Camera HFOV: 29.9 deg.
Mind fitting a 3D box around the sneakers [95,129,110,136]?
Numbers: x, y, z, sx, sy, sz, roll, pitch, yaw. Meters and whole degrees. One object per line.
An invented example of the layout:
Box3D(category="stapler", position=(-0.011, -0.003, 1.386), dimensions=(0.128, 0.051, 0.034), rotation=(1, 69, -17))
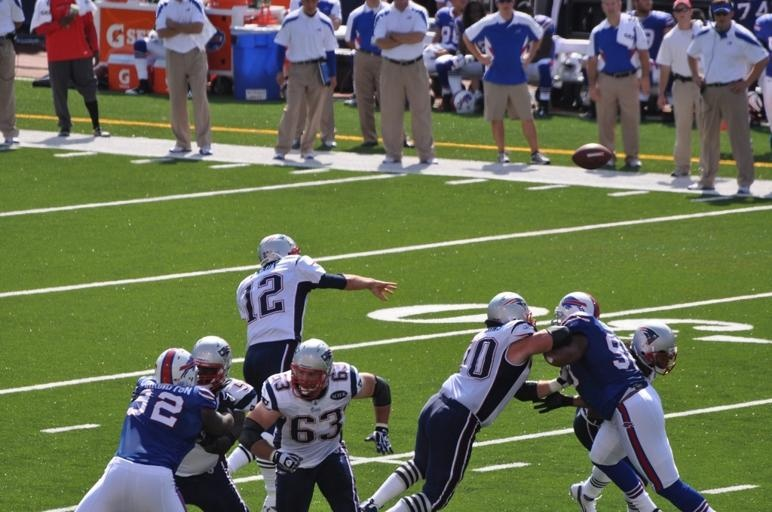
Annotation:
Box3D(category="sneakers", position=(-4.992, -2.110, 25.294), dimensions=(0.238, 0.119, 0.130), rotation=(1, 35, 1))

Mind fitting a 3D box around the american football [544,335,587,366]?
Box3D(category="american football", position=(1.865, 1.005, 15.085), dimensions=(0.438, 0.340, 0.181), rotation=(0, 7, 8))

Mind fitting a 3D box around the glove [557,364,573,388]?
Box3D(category="glove", position=(1.911, 1.296, 15.396), dimensions=(0.154, 0.253, 0.105), rotation=(3, -1, 41))

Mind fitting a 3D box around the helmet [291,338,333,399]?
Box3D(category="helmet", position=(-0.770, 1.187, 14.728), dimensions=(0.349, 0.541, 0.568), rotation=(7, 26, 10))

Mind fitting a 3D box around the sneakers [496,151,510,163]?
Box3D(category="sneakers", position=(1.921, -1.603, 23.719), dimensions=(0.185, 0.202, 0.230), rotation=(-1, 8, 5))

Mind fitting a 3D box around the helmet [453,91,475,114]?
Box3D(category="helmet", position=(1.475, -2.887, 27.550), dimensions=(0.409, 0.461, 0.368), rotation=(-11, 48, -8))

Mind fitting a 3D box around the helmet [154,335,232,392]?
Box3D(category="helmet", position=(-1.940, 1.087, 14.930), dimensions=(0.435, 0.546, 0.665), rotation=(4, -13, 8))

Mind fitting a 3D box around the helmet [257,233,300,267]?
Box3D(category="helmet", position=(-1.219, -0.022, 16.120), dimensions=(0.370, 0.337, 0.317), rotation=(-22, 11, -9))

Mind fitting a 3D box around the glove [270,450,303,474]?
Box3D(category="glove", position=(-1.043, 2.100, 14.833), dimensions=(0.261, 0.211, 0.122), rotation=(28, 10, 8))

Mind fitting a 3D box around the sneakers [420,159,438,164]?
Box3D(category="sneakers", position=(0.698, -1.530, 23.675), dimensions=(0.283, 0.100, 0.117), rotation=(-4, 9, -14))

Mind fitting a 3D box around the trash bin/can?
Box3D(category="trash bin/can", position=(-2.673, -3.851, 29.245), dimensions=(1.205, 2.322, 1.301), rotation=(0, 10, 0))

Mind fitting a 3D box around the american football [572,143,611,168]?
Box3D(category="american football", position=(3.247, -1.565, 22.978), dimensions=(0.318, 0.352, 0.507), rotation=(-9, -3, 9))

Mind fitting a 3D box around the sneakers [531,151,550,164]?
Box3D(category="sneakers", position=(2.544, -1.577, 23.505), dimensions=(0.404, 0.202, 0.140), rotation=(12, 21, 42))

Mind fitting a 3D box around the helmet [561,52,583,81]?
Box3D(category="helmet", position=(3.503, -3.537, 27.245), dimensions=(0.372, 0.513, 0.468), rotation=(-1, -3, 9))

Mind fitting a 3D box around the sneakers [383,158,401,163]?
Box3D(category="sneakers", position=(0.078, -1.532, 23.642), dimensions=(0.291, 0.146, 0.110), rotation=(4, 3, -7))

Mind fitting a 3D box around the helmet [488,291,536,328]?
Box3D(category="helmet", position=(1.288, 0.561, 15.387), dimensions=(0.375, 0.369, 0.327), rotation=(-5, 3, -10))

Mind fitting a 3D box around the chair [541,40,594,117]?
Box3D(category="chair", position=(3.218, -3.437, 27.555), dimensions=(0.764, 1.166, 1.493), rotation=(-2, 7, -10))

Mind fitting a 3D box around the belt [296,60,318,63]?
Box3D(category="belt", position=(-1.281, -3.119, 23.385), dimensions=(0.306, 0.051, 0.053), rotation=(-2, 8, -3))

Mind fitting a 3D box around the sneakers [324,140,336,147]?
Box3D(category="sneakers", position=(-0.984, -1.904, 24.775), dimensions=(0.163, 0.129, 0.115), rotation=(2, 45, 3))

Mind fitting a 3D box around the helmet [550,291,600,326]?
Box3D(category="helmet", position=(2.028, 0.596, 15.470), dimensions=(0.400, 0.402, 0.317), rotation=(14, 1, 10))

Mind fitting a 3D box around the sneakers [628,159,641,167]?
Box3D(category="sneakers", position=(4.009, -1.479, 23.405), dimensions=(0.242, 0.159, 0.217), rotation=(0, 9, 8))

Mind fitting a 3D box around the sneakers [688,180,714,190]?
Box3D(category="sneakers", position=(4.826, -1.094, 22.156), dimensions=(0.343, 0.177, 0.155), rotation=(6, 8, 13))

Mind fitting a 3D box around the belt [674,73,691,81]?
Box3D(category="belt", position=(4.617, -2.754, 22.541), dimensions=(0.091, 0.106, 0.353), rotation=(-9, 12, -43))

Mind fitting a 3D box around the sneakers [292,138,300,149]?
Box3D(category="sneakers", position=(-1.551, -1.886, 24.710), dimensions=(0.067, 0.174, 0.221), rotation=(1, -7, -9))
